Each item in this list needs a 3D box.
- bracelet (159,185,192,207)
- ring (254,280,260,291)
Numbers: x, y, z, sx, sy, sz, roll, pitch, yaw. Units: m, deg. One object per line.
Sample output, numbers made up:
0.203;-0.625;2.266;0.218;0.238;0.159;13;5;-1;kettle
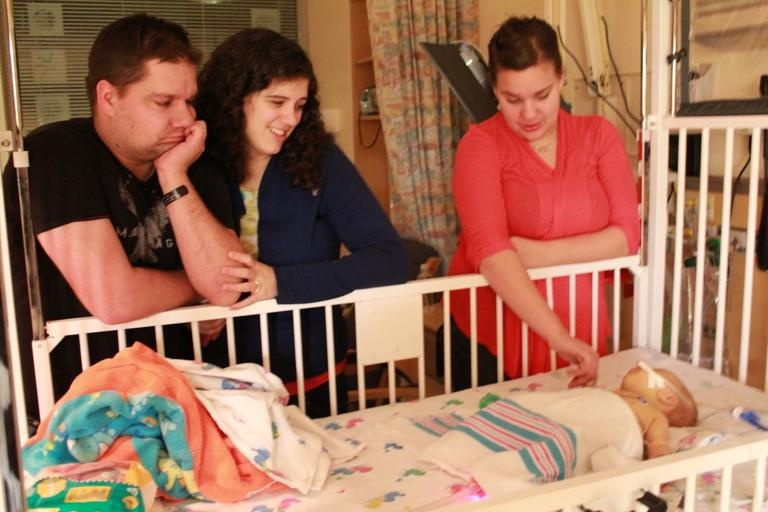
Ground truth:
-0.605;-0.178;1.983;0.069;0.049;0.075;-18;3;6;bracelet
-0.376;0.087;2.046;0.019;0.025;0.011;6;-19;25;ring
